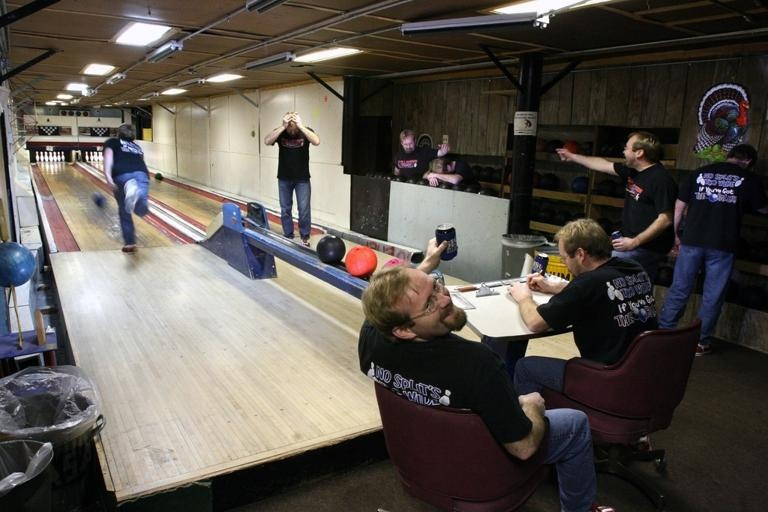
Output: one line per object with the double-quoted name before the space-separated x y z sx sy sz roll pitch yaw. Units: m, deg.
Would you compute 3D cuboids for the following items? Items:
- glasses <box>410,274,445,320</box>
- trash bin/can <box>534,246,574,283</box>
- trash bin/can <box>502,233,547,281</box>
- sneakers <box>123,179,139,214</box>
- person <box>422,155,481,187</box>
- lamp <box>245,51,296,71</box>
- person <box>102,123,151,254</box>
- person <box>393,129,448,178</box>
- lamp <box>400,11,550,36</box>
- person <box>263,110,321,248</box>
"glasses" 0.206 0.198 2.093 0.186 0.056 0.186 -39 23 32
"trash bin/can" 1.268 0.061 3.710 0.224 0.223 0.224 -7 14 -11
"trash bin/can" 1.350 -0.022 4.856 0.498 0.557 0.464 -1 6 -5
"sneakers" -3.171 -0.749 6.044 0.141 0.423 0.177 6 10 -17
"person" 0.885 -1.134 6.521 0.705 0.385 0.689 3 12 8
"lamp" -1.568 -2.634 6.517 0.167 0.137 1.417 -8 15 -35
"person" -3.297 -0.856 6.180 0.488 1.648 0.557 -7 14 -30
"person" 0.573 -1.516 7.140 0.934 1.037 0.246 3 17 35
"lamp" 0.684 -1.855 3.855 1.196 0.125 0.207 7 13 26
"person" -1.229 -1.022 6.518 0.640 1.797 0.503 -2 13 -12
